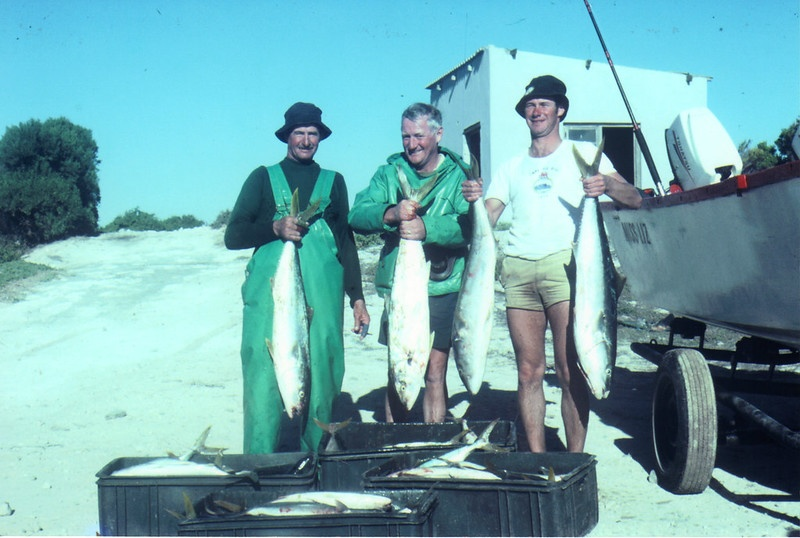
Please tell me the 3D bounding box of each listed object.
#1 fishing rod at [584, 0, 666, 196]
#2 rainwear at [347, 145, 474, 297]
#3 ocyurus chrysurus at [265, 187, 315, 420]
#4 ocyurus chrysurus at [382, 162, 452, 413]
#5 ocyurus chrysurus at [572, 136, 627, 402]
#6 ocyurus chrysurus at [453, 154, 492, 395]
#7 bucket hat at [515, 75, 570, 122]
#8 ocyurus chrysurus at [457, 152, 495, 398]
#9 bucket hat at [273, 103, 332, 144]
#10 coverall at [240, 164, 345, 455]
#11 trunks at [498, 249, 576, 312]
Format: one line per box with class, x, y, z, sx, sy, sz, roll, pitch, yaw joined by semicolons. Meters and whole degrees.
fishing rod;3.990;-2.609;14.348;0.155;4.721;0.163;-22;-6;14
rainwear;0.248;-0.438;7.134;1.269;1.694;1.043;2;5;19
ocyurus chrysurus;-0.844;0.380;6.342;0.591;1.931;0.314;2;-5;-9
ocyurus chrysurus;0.168;0.144;6.424;0.338;2.024;0.492;3;2;17
ocyurus chrysurus;1.540;0.218;6.433;0.386;1.554;0.253;-5;-9;7
ocyurus chrysurus;0.587;0.087;6.565;0.241;1.995;0.318;1;-5;5
bucket hat;1.218;-1.461;6.867;0.295;0.240;0.419;0;-6;8
ocyurus chrysurus;0.622;0.029;6.534;0.247;2.053;0.313;3;-8;-16
bucket hat;-0.765;-1.208;6.527;0.417;0.269;0.468;-3;-11;-9
coverall;-0.862;0.429;6.556;0.747;3.077;0.740;-3;-7;9
trunks;1.121;0.111;6.760;0.586;0.525;0.451;-4;-8;19
